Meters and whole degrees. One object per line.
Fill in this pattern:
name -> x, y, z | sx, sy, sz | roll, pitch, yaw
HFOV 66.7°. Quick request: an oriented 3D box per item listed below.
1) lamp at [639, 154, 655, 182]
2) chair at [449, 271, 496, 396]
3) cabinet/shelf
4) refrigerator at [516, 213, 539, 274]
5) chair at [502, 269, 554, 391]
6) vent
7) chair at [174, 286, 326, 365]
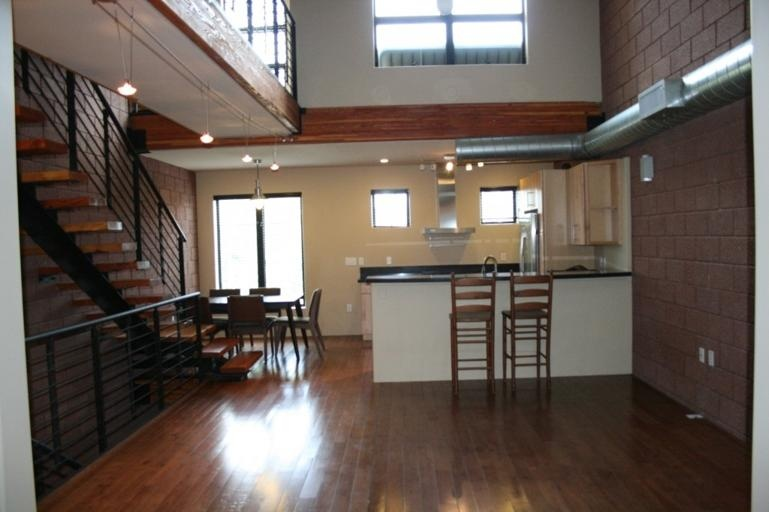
lamp -> 3.059, -1.013, 6.854 | 0.106, 0.334, 0.233 | -2, 14, -3
chair -> 1.060, 0.860, 7.013 | 0.539, 1.372, 1.018 | 1, 14, 10
cabinet/shelf -> 2.822, -0.676, 7.905 | 0.543, 1.006, 0.997 | -2, 6, 8
refrigerator -> 2.144, -0.215, 8.657 | 0.259, 1.052, 0.862 | 1, 14, 9
chair -> 1.709, 0.846, 7.044 | 0.605, 1.380, 1.122 | 2, 15, 15
vent -> 1.052, -0.849, 9.642 | 0.792, 1.285, 0.709 | -1, 14, 3
chair -> -1.738, 0.725, 8.616 | 1.684, 0.864, 0.948 | 0, 6, 7
